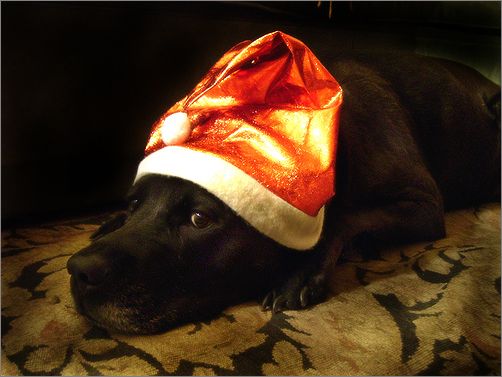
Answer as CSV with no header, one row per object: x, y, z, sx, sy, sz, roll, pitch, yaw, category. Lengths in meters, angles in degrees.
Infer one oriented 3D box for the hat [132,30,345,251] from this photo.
-0.010,-0.161,1.693,0.557,0.539,0.776,33,29,17,hat
